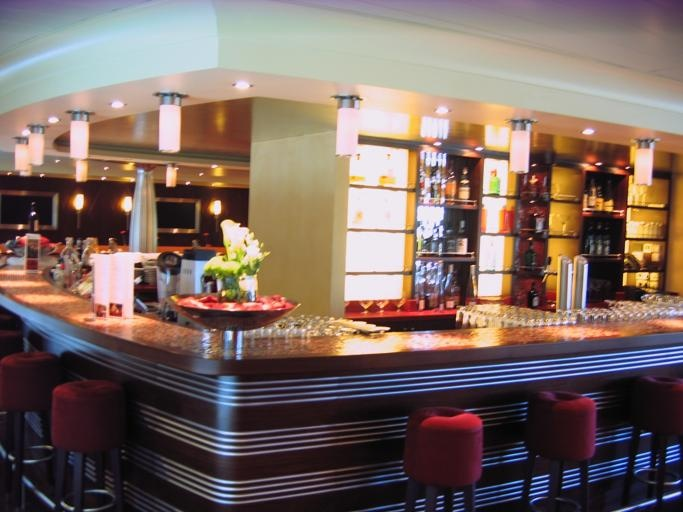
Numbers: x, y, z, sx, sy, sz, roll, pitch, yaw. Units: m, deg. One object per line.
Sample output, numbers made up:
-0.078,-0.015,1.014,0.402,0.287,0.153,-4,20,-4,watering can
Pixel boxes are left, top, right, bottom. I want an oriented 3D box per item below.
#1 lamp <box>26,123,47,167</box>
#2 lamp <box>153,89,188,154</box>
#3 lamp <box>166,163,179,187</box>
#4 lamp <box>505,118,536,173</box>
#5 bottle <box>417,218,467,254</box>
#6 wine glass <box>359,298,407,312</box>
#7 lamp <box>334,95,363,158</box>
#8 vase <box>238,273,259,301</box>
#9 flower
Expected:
-3.021,-1.108,5.994,0.142,0.400,0.411,-1,3,-26,lamp
-1.303,-1.012,4.601,0.222,0.446,0.405,0,3,-15,lamp
-3.115,-1.495,11.089,0.138,0.382,0.591,0,2,-11,lamp
1.498,-0.916,5.025,0.191,0.450,0.371,1,3,15,lamp
1.140,-0.217,6.861,0.720,0.399,0.196,-1,3,-29,bottle
0.447,0.530,6.541,0.549,0.125,0.139,-1,3,-32,wine glass
0.044,-0.968,4.511,0.207,0.449,0.312,1,3,1,lamp
-0.563,0.194,3.732,0.074,0.163,0.120,3,3,38,vase
-0.665,0.018,3.771,0.352,0.488,0.178,0,3,-7,flower
